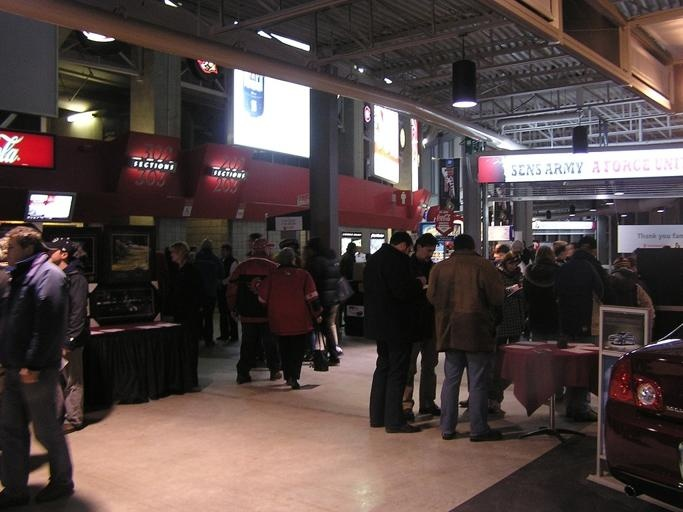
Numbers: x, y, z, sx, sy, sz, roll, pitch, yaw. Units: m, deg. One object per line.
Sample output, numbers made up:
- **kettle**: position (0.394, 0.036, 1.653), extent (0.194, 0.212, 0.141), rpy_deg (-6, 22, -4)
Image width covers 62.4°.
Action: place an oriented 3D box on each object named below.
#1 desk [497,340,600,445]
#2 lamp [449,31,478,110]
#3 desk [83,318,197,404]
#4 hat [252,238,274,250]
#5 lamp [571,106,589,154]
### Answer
- **desk**: position (1.975, 1.257, 5.584), extent (0.979, 0.841, 0.934), rpy_deg (0, 4, 12)
- **lamp**: position (1.859, -2.571, 8.421), extent (0.385, 0.675, 0.271), rpy_deg (-1, 2, -32)
- **desk**: position (-2.365, 1.320, 7.049), extent (1.399, 0.840, 0.649), rpy_deg (-7, -3, 4)
- **hat**: position (-1.092, -0.160, 7.926), extent (0.248, 0.100, 0.170), rpy_deg (-3, 4, -26)
- **lamp**: position (4.785, -2.489, 11.087), extent (0.146, 0.901, 0.354), rpy_deg (-12, 22, 19)
